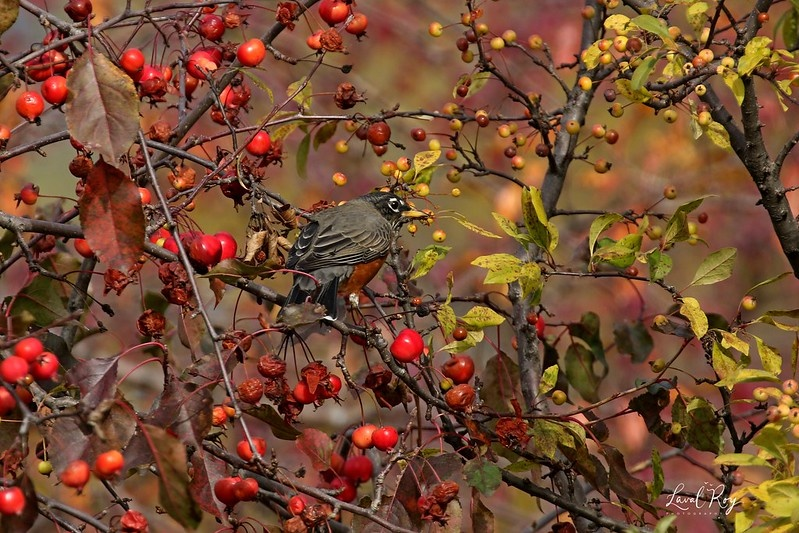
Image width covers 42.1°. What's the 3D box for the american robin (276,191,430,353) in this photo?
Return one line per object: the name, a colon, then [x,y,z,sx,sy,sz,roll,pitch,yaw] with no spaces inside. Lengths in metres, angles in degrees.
american robin: [-0.299,-0.065,6.088,0.434,0.975,0.657,-9,-92,56]
